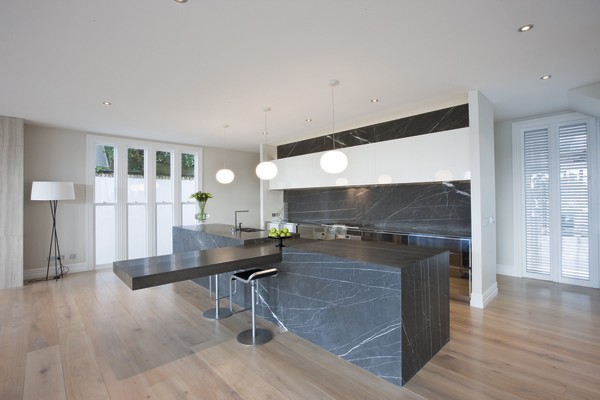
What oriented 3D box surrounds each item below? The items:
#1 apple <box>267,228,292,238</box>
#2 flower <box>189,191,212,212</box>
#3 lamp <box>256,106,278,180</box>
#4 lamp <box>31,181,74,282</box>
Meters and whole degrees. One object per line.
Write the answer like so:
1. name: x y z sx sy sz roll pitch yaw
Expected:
1. apple: -0.270 0.458 5.178 0.274 0.159 0.312 0 8 4
2. flower: -1.815 0.030 6.716 0.316 0.385 0.558 -4 9 -18
3. lamp: -0.529 -0.870 5.812 0.335 1.110 0.325 -3 18 -15
4. lamp: -4.459 0.528 6.762 0.628 1.761 0.584 -8 11 -38
